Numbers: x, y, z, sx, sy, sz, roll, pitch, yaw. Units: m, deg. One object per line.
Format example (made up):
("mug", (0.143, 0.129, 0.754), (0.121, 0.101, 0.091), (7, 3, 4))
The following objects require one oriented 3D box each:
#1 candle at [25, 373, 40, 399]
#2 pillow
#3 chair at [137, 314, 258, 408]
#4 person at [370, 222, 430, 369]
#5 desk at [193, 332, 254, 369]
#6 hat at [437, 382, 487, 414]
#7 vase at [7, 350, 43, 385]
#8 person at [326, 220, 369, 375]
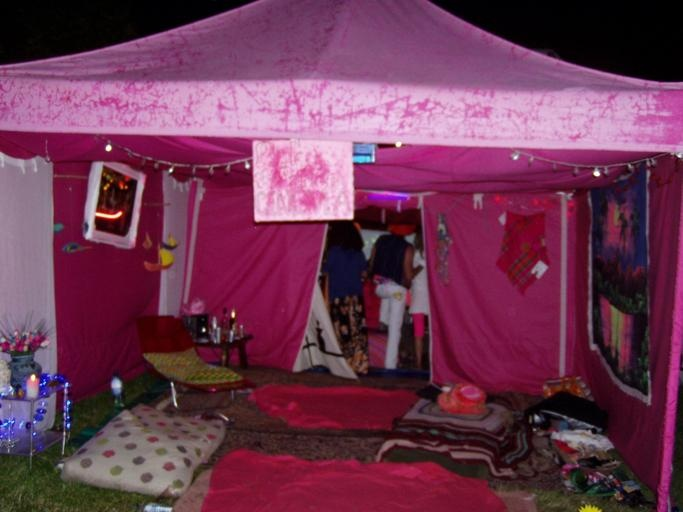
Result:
("candle", (-2.568, 1.084, 4.941), (0.111, 0.179, 0.172), (-4, 9, -29))
("pillow", (-1.719, 1.612, 5.174), (1.135, 0.389, 1.069), (2, 8, 8))
("chair", (-1.613, 1.086, 6.268), (1.302, 0.981, 0.799), (2, -1, 38))
("person", (0.710, 0.522, 7.917), (0.489, 1.839, 0.629), (-3, 8, -22))
("desk", (-1.443, 1.160, 7.514), (0.488, 0.403, 0.503), (-1, -2, 37))
("hat", (1.174, 1.397, 5.825), (0.465, 0.238, 0.286), (2, 8, 9))
("vase", (-2.719, 0.947, 5.188), (0.246, 0.323, 0.259), (-1, 1, -10))
("person", (0.047, 0.519, 7.756), (0.574, 1.920, 0.588), (0, 7, -2))
